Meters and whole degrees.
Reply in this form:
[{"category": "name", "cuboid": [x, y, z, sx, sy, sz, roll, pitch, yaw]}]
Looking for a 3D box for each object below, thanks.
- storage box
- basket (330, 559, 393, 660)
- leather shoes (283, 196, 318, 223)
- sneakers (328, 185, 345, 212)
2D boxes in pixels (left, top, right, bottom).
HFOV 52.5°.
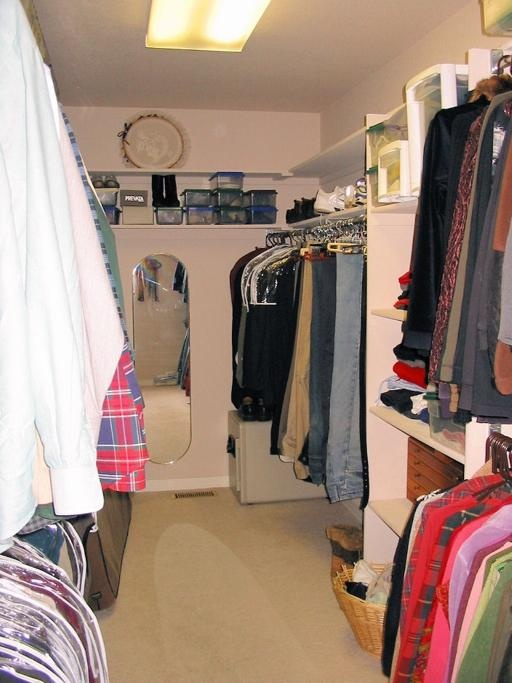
[{"category": "storage box", "cuboid": [-0.464, -0.966, 3.523, 1.272, 0.354, 0.375, -1, 3, -4]}, {"category": "basket", "cuboid": [0.412, 0.944, 1.913, 0.239, 0.228, 0.283, 3, 0, -10]}, {"category": "leather shoes", "cuboid": [0.290, -0.826, 3.295, 0.190, 0.082, 0.220, 2, 4, 39]}, {"category": "sneakers", "cuboid": [0.436, -0.748, 2.742, 0.088, 0.142, 0.047, -7, 12, -22]}]
